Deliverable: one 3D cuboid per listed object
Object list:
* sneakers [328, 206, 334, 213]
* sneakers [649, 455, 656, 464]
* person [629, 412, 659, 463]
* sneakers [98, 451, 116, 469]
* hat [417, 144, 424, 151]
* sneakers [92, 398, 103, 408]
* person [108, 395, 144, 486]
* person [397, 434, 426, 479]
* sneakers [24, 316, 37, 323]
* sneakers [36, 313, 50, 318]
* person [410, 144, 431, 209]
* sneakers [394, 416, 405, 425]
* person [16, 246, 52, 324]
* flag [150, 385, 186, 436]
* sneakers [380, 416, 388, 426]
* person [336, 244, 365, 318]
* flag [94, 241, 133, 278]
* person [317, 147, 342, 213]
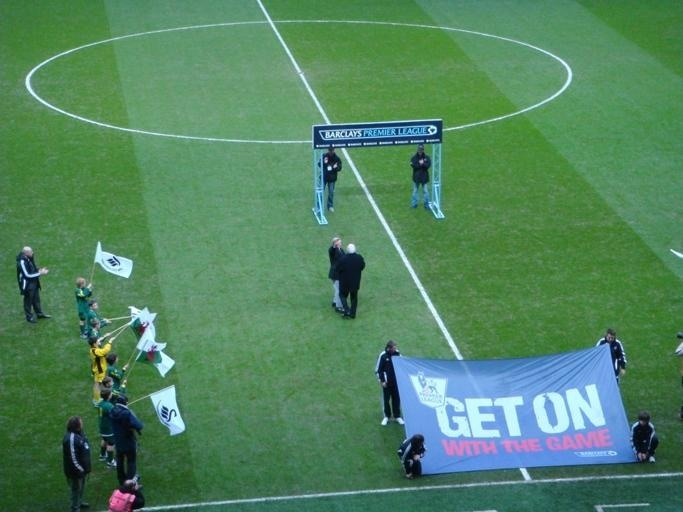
[{"bbox_3d":[-0.400,-1.492,38.864,0.103,0.098,0.244,-9,25,-15],"label":"sneakers"},{"bbox_3d":[7.572,4.993,30.089,0.177,0.121,0.312,0,-5,6],"label":"sneakers"},{"bbox_3d":[7.371,4.427,30.025,0.617,1.279,0.419,-1,14,7],"label":"person"},{"bbox_3d":[-5.779,4.997,30.127,0.219,0.253,0.596,18,16,14],"label":"sneakers"},{"bbox_3d":[2.437,-3.440,38.650,0.237,0.167,0.325,4,-8,15],"label":"hat"},{"bbox_3d":[-6.168,3.691,30.835,0.288,0.374,0.113,14,49,10],"label":"sneakers"},{"bbox_3d":[-5.215,4.458,29.565,0.806,2.296,0.772,6,17,27],"label":"person"},{"bbox_3d":[1.698,4.850,29.836,0.640,1.163,0.700,4,20,-6],"label":"person"},{"bbox_3d":[-8.651,1.760,34.015,0.344,0.144,0.114,2,46,-10],"label":"sneakers"},{"bbox_3d":[-8.347,1.651,34.156,0.342,0.141,0.119,-1,27,-8],"label":"sneakers"},{"bbox_3d":[2.477,-2.662,39.388,0.607,2.093,1.467,-2,14,4],"label":"person"},{"bbox_3d":[1.436,4.203,31.258,0.101,0.123,0.265,-21,31,-33],"label":"sneakers"},{"bbox_3d":[-8.645,0.719,34.138,0.740,2.100,0.930,-6,15,-14],"label":"person"},{"bbox_3d":[-4.353,3.890,30.432,0.887,1.374,0.102,-26,19,-12],"label":"flag"},{"bbox_3d":[1.051,4.210,31.188,0.112,0.109,0.239,3,12,14],"label":"sneakers"},{"bbox_3d":[0.198,0.694,34.109,0.632,2.076,0.618,-16,19,-42],"label":"person"},{"bbox_3d":[-6.394,0.115,34.064,0.994,0.109,1.010,5,56,-19],"label":"flag"},{"bbox_3d":[-0.414,-2.524,39.009,0.675,2.056,1.069,-3,14,-1],"label":"person"}]
